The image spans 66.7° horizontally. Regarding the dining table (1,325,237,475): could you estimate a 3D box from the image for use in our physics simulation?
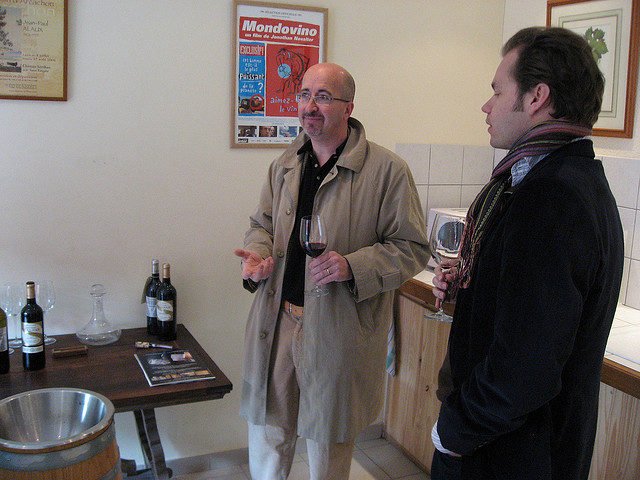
[{"bbox_3d":[-0.875,0.734,2.139,0.693,0.728,0.716,-2,10,-19],"label":"dining table"}]

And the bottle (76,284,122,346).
[{"bbox_3d":[-0.998,0.323,2.248,0.220,0.334,0.233,0,2,0],"label":"bottle"}]

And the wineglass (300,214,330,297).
[{"bbox_3d":[-0.017,0.054,1.715,0.095,0.274,0.097,-1,5,18],"label":"wineglass"}]

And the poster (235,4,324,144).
[{"bbox_3d":[-0.242,-0.829,2.534,0.601,0.645,0.066,-5,18,-35],"label":"poster"}]

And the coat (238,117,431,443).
[{"bbox_3d":[-0.004,0.141,2.050,0.836,1.238,0.604,7,8,37],"label":"coat"}]

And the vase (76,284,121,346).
[{"bbox_3d":[-1.037,0.347,2.263,0.201,0.254,0.202,-1,1,-18],"label":"vase"}]

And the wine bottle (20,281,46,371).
[{"bbox_3d":[-1.141,0.339,1.927,0.086,0.347,0.078,0,2,0],"label":"wine bottle"}]

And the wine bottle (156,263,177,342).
[{"bbox_3d":[-0.700,0.286,2.243,0.094,0.346,0.106,0,16,-18],"label":"wine bottle"}]

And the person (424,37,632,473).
[{"bbox_3d":[0.519,0.077,1.206,0.411,1.106,0.343,5,11,30],"label":"person"}]

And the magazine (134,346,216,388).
[{"bbox_3d":[-0.605,0.520,2.013,0.246,0.034,0.344,-6,11,-32],"label":"magazine"}]
